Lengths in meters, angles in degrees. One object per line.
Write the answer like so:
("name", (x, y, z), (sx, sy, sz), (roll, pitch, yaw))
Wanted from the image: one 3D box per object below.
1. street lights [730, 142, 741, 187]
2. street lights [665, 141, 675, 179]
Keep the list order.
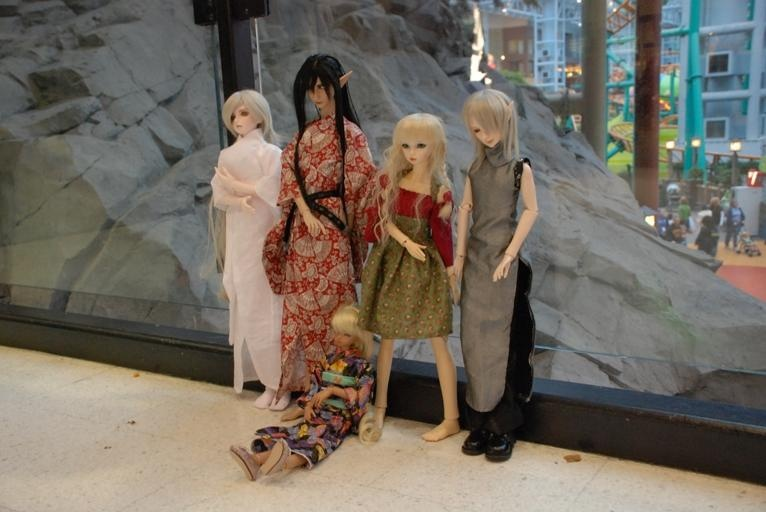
("street lights", (1.968, -0.513, 3.482), (0.055, 0.242, 0.067), (4, 12, 18))
("street lights", (1.675, -0.553, 3.623), (0.043, 0.213, 0.064), (0, 11, 0))
